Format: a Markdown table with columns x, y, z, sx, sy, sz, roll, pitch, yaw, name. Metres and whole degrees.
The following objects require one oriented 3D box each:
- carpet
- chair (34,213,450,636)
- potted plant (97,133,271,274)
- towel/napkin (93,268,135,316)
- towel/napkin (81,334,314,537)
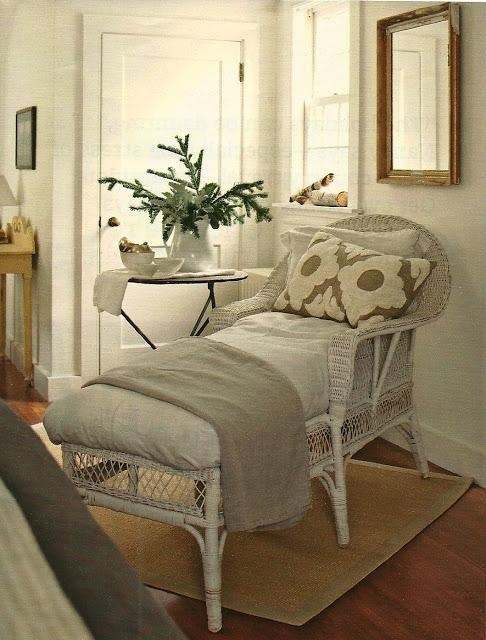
| x | y | z | sx | sy | sz | roll | pitch | yaw | name |
| --- | --- | --- | --- | --- | --- | --- | --- | --- | --- |
| 0.155 | 0.623 | 1.572 | 0.785 | 0.012 | 0.853 | 5 | 10 | 33 | carpet |
| 0.032 | 0.215 | 1.854 | 0.829 | 0.826 | 1.347 | 6 | 9 | 39 | chair |
| -0.207 | -0.491 | 2.608 | 0.514 | 0.426 | 0.560 | 0 | 4 | -25 | potted plant |
| -0.515 | -0.116 | 2.520 | 0.208 | 0.183 | 0.076 | 13 | 4 | 35 | towel/napkin |
| -0.083 | 0.275 | 1.445 | 0.458 | 0.370 | 0.351 | 11 | 12 | 35 | towel/napkin |
